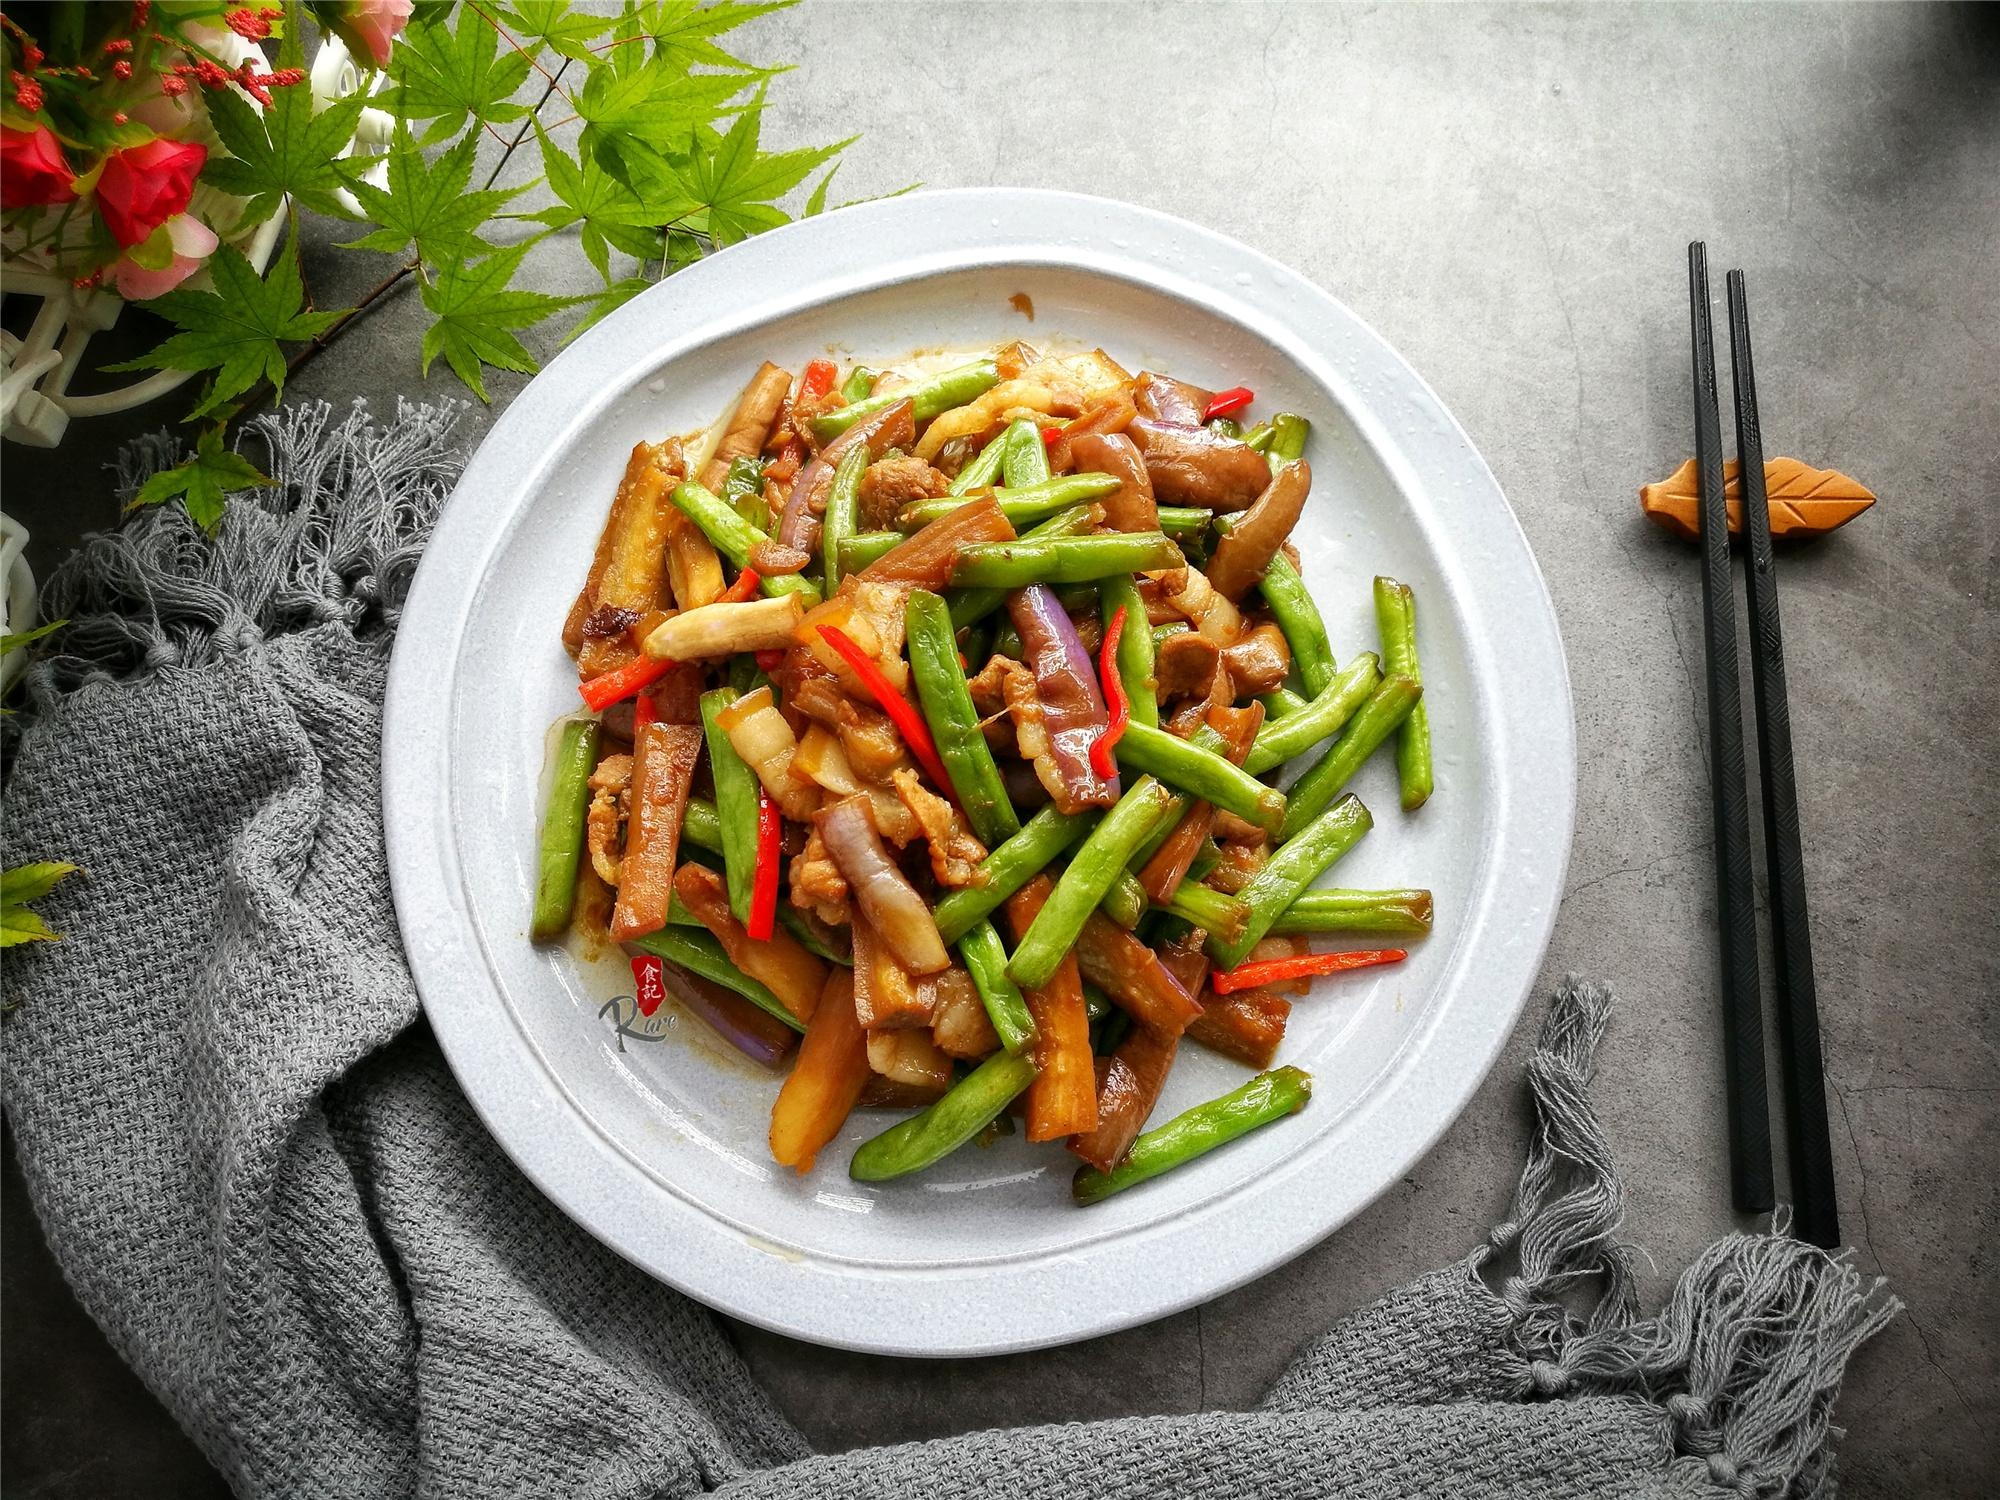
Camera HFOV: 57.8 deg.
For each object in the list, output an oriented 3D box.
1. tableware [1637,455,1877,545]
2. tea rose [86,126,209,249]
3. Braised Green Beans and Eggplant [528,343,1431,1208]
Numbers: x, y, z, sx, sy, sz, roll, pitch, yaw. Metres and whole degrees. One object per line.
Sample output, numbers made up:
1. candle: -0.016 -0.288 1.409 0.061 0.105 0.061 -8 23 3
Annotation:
1. tableware: 1.609 -0.559 3.993 0.576 0.121 0.211 0 84 -2
2. tea rose: -1.557 -1.038 3.339 0.110 0.177 0.193 35 79 29
3. Braised Green Beans and Eggplant: -0.051 -0.007 3.654 1.763 0.502 1.716 7 79 2
